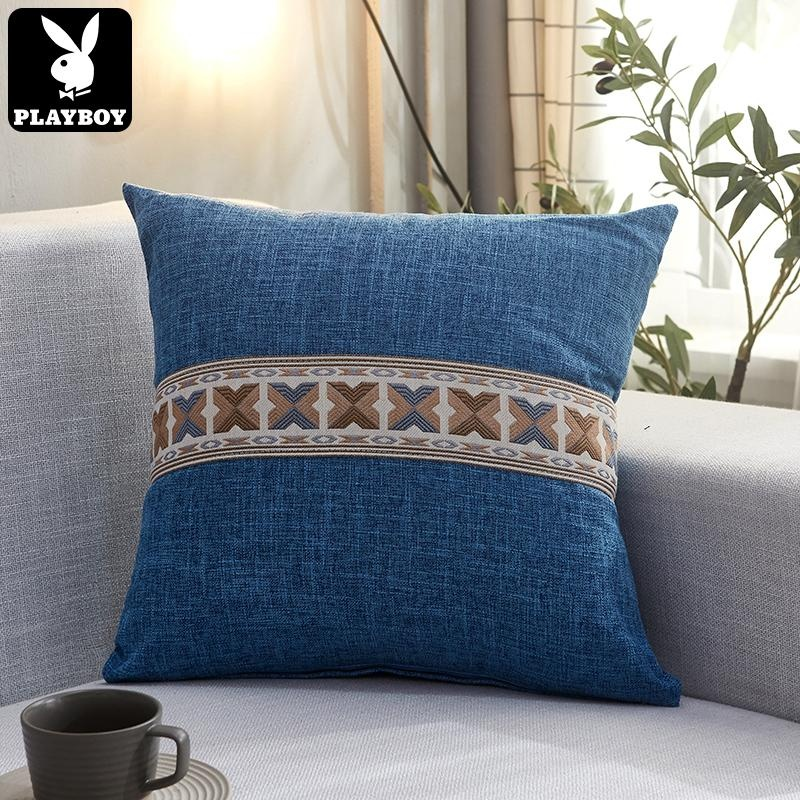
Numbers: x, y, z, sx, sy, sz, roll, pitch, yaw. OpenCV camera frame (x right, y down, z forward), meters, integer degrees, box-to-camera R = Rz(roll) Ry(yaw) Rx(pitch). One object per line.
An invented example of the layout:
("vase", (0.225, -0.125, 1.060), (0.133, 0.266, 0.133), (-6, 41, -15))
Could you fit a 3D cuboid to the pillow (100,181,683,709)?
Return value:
("pillow", (-0.014, 0.057, 0.847), (0.595, 0.449, 0.209), (0, -11, 1))
